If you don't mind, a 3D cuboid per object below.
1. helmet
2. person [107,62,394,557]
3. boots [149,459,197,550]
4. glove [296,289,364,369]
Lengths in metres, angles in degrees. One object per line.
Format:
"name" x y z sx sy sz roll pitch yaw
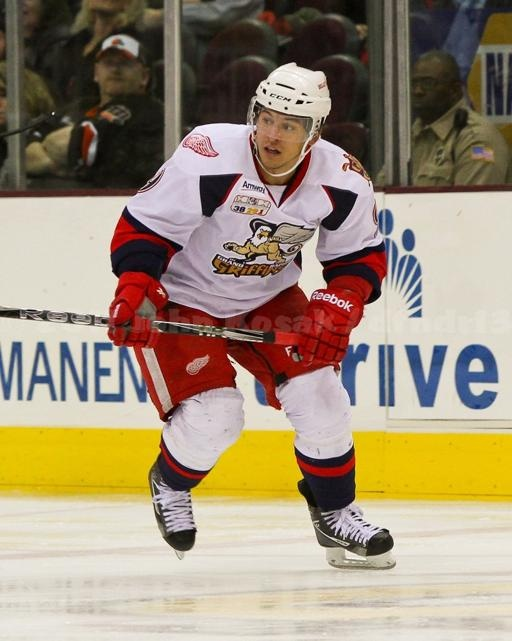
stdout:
"helmet" 0.111 -0.575 2.909 0.187 0.252 0.125 -10 14 -42
"person" -0.010 0.016 3.042 0.810 1.466 0.407 -2 11 -7
"boots" -0.251 0.551 3.160 0.127 0.272 0.141 -5 -5 -15
"glove" 0.201 0.026 2.964 0.190 0.198 0.082 15 -3 19
